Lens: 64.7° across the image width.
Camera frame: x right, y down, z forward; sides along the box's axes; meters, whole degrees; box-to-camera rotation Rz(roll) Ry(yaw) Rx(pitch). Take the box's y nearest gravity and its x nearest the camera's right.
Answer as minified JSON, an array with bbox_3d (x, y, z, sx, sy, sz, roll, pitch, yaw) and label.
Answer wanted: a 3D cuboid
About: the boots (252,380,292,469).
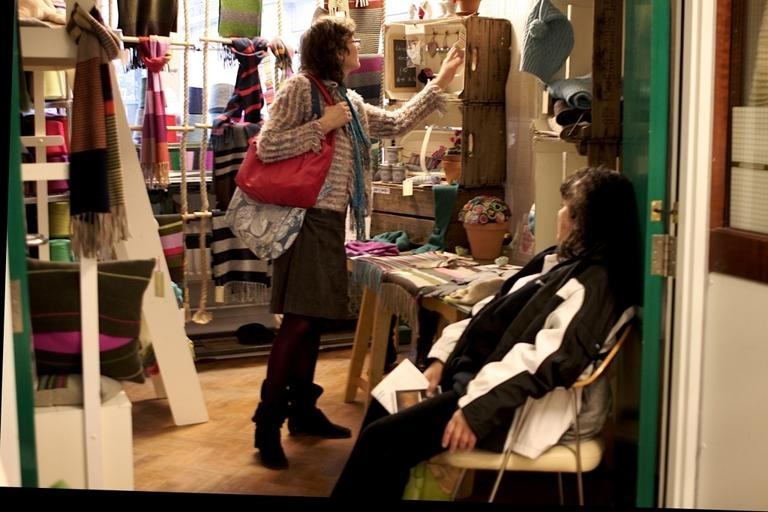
[{"bbox_3d":[-0.561,0.835,2.980,0.191,0.279,0.411,2,12,-13],"label":"boots"}]

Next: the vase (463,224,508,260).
[{"bbox_3d":[0.583,-0.083,3.506,0.206,0.148,0.208,2,4,30],"label":"vase"}]

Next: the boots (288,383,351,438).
[{"bbox_3d":[-0.332,0.810,3.221,0.376,0.247,0.137,2,6,20],"label":"boots"}]

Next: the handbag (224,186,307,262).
[{"bbox_3d":[-0.568,-0.145,2.818,0.318,0.317,0.108,46,16,15],"label":"handbag"}]

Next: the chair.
[{"bbox_3d":[0.562,0.548,2.552,0.798,0.971,0.589,3,-2,2],"label":"chair"}]

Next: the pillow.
[{"bbox_3d":[-1.106,0.254,2.334,0.449,0.532,0.116,-7,14,-25],"label":"pillow"}]

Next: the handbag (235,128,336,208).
[{"bbox_3d":[-0.438,-0.393,2.789,0.315,0.302,0.135,18,3,19],"label":"handbag"}]
